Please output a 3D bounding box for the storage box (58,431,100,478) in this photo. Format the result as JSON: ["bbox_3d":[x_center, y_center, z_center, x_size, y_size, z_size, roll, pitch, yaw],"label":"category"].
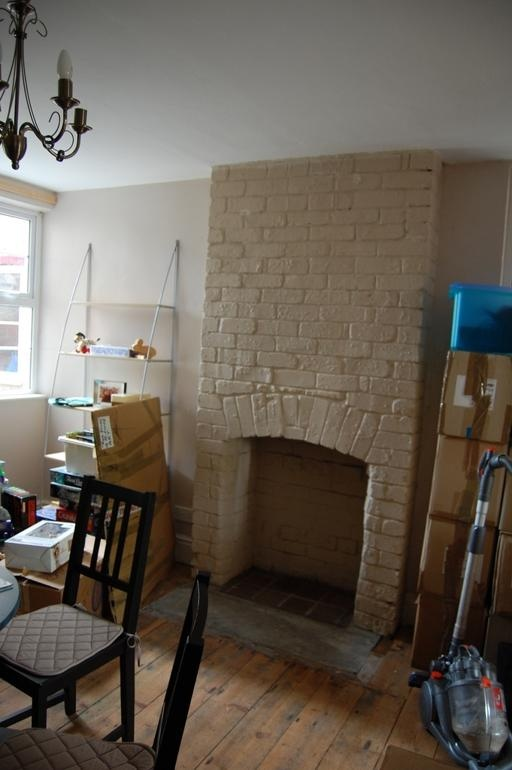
[{"bbox_3d":[-0.941,0.378,3.146,0.231,0.178,0.201,6,11,26],"label":"storage box"}]
